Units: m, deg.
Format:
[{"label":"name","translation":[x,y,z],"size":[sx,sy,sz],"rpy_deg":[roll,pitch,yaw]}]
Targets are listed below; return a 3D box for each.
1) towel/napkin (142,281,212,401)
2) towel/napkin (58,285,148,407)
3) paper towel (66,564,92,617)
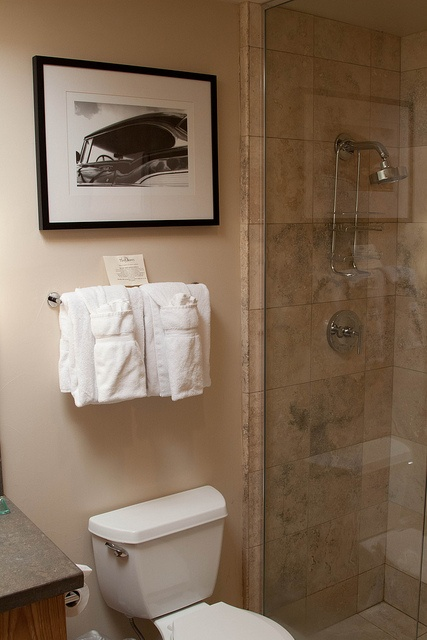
[{"label":"towel/napkin","translation":[-0.103,0.055,1.567],"size":[0.094,0.315,0.239],"rpy_deg":[2,2,33]},{"label":"towel/napkin","translation":[-0.282,0.068,1.374],"size":[0.289,0.297,0.108],"rpy_deg":[-1,1,1]},{"label":"paper towel","translation":[-0.344,0.691,1.375],"size":[0.056,0.100,0.102],"rpy_deg":[-3,-18,-7]}]
